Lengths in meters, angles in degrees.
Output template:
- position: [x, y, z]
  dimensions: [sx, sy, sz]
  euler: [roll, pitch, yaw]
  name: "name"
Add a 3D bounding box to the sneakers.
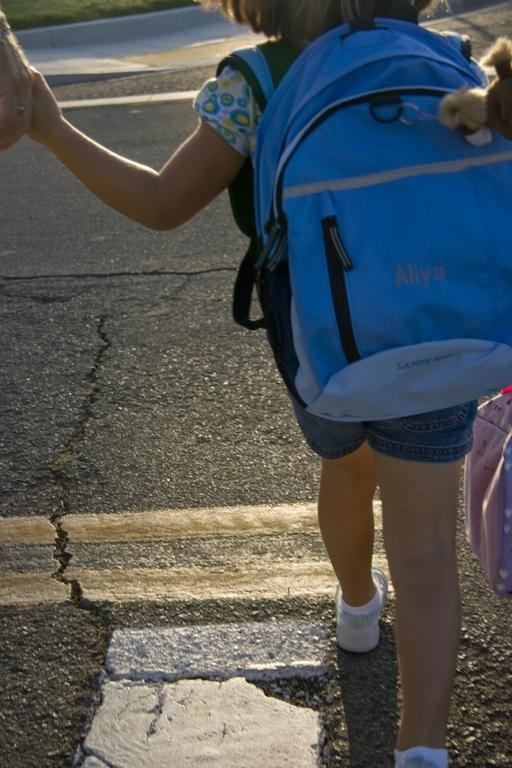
- position: [0.247, 0.545, 1.964]
  dimensions: [0.094, 0.091, 0.224]
  euler: [-3, 30, 8]
  name: "sneakers"
